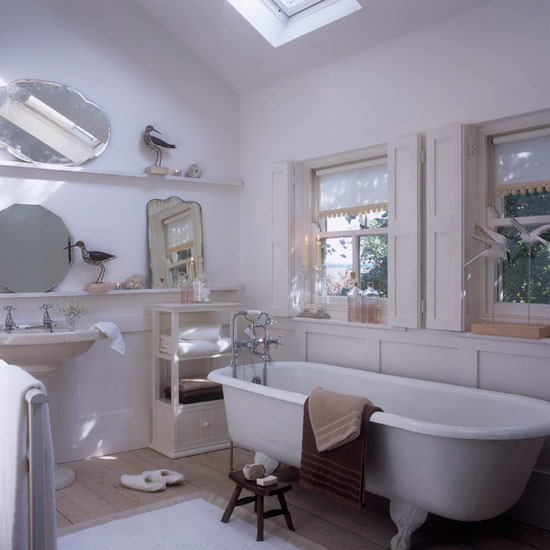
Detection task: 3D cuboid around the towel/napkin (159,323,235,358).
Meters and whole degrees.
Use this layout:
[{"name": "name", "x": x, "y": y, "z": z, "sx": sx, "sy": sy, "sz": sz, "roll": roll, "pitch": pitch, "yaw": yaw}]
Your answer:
[{"name": "towel/napkin", "x": -0.592, "y": 0.495, "z": 3.525, "sx": 0.309, "sy": 0.136, "sz": 0.301, "roll": -1, "pitch": -3, "yaw": 21}]

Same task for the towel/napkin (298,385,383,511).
[{"name": "towel/napkin", "x": 0.324, "y": 0.773, "z": 2.182, "sx": 0.114, "sy": 0.466, "sz": 0.398, "roll": 2, "pitch": 1, "yaw": -43}]

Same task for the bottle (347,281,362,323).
[{"name": "bottle", "x": 0.573, "y": 0.216, "z": 3.416, "sx": 0.097, "sy": 0.240, "sz": 0.100, "roll": 0, "pitch": -2, "yaw": 0}]

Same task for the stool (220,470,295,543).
[{"name": "stool", "x": -0.080, "y": 1.057, "z": 2.389, "sx": 0.246, "sy": 0.268, "sz": 0.405, "roll": 7, "pitch": -8, "yaw": -38}]

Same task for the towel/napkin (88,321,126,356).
[{"name": "towel/napkin", "x": -1.036, "y": 0.435, "z": 3.010, "sx": 0.076, "sy": 0.242, "sz": 0.239, "roll": -17, "pitch": 13, "yaw": 12}]

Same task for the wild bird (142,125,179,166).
[{"name": "wild bird", "x": -0.922, "y": -1.043, "z": 3.779, "sx": 0.247, "sy": 0.335, "sz": 0.155, "roll": 1, "pitch": -2, "yaw": -25}]
